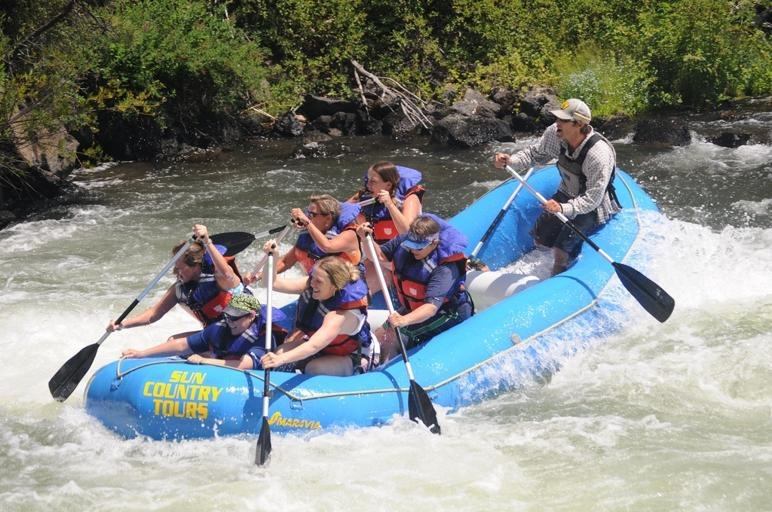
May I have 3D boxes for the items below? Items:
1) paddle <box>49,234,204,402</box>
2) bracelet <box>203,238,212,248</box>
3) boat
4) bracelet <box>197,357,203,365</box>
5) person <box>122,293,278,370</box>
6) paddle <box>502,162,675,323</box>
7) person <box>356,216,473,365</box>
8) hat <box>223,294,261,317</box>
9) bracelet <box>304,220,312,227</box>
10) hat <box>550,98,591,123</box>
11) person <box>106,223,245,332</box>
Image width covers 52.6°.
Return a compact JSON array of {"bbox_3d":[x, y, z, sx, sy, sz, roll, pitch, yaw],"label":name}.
[{"bbox_3d":[-2.927,0.744,8.762,2.482,0.443,0.068,-41,-12,-9],"label":"paddle"},{"bbox_3d":[-1.765,-0.122,7.693,0.087,0.077,0.022,11,-22,-8],"label":"bracelet"},{"bbox_3d":[0.633,0.792,8.202,5.972,1.096,2.849,-23,28,-33],"label":"boat"},{"bbox_3d":[-1.788,1.012,7.497,0.054,0.018,0.063,-1,16,-9],"label":"bracelet"},{"bbox_3d":[-1.769,0.811,7.746,1.289,0.644,0.784,-12,23,-26],"label":"person"},{"bbox_3d":[2.281,-0.099,8.928,0.366,0.122,2.428,-50,50,-1],"label":"paddle"},{"bbox_3d":[0.325,0.454,8.189,1.116,1.801,0.904,-12,35,-16],"label":"person"},{"bbox_3d":[-1.398,0.476,7.585,0.305,0.140,0.206,5,-11,-33],"label":"hat"},{"bbox_3d":[-0.822,-0.333,8.181,0.061,0.014,0.056,-8,20,15],"label":"bracelet"},{"bbox_3d":[2.132,-1.635,8.915,0.438,0.199,0.288,5,11,1],"label":"hat"},{"bbox_3d":[-2.458,0.297,8.983,0.847,1.429,0.929,12,64,16],"label":"person"}]
